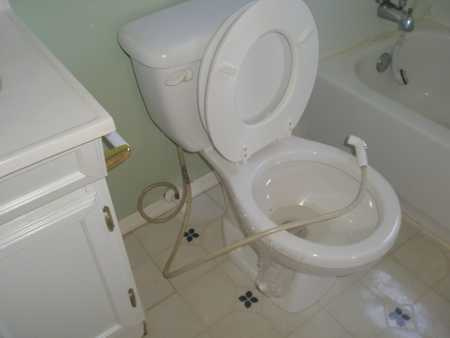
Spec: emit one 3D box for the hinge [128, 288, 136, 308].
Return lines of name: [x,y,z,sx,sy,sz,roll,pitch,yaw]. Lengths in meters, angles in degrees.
hinge: [-0.263,0.368,1.056,0.012,0.065,0.013,-16,38,-13]

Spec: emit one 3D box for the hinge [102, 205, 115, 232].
hinge: [-0.275,0.117,0.865,0.014,0.061,0.016,-5,24,-1]

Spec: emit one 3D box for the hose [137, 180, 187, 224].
hose: [-0.250,0.121,1.486,0.236,0.050,0.185,-19,62,-35]

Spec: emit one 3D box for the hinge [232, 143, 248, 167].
hinge: [0.046,-0.048,1.163,0.022,0.085,0.062,4,83,14]
